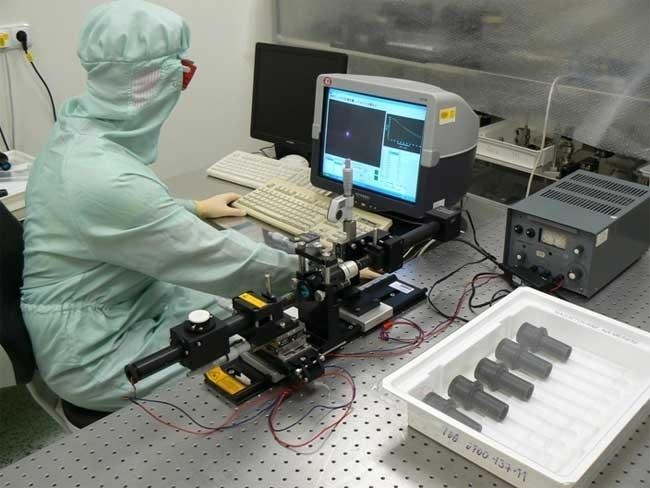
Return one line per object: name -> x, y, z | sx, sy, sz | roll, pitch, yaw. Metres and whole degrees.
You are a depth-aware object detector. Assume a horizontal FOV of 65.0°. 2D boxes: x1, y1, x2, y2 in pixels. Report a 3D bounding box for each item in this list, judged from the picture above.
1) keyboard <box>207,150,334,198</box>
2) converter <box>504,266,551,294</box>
keyboard -> -0.285, -0.337, 2.264 | 0.537, 0.077, 0.209 | 21, 47, 36
converter -> 0.618, 0.107, 1.542 | 0.059, 0.049, 0.134 | -23, 33, -36
